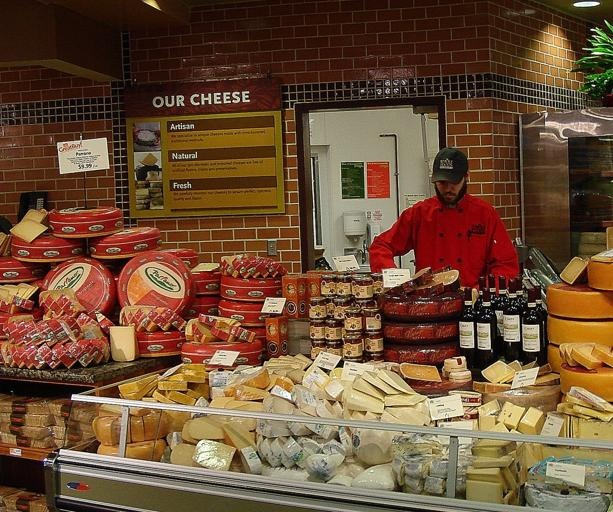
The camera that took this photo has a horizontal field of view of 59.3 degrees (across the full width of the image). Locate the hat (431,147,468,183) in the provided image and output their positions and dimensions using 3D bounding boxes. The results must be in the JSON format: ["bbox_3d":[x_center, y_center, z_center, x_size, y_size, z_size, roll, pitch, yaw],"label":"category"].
[{"bbox_3d":[0.820,-0.541,3.112,0.234,0.145,0.303,4,39,23],"label":"hat"}]

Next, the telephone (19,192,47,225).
[{"bbox_3d":[-2.918,-0.541,5.701,0.402,0.324,0.120,-1,1,24],"label":"telephone"}]
